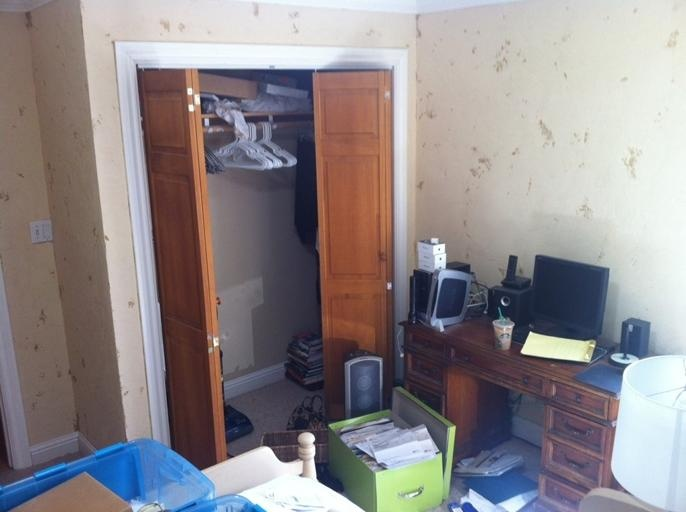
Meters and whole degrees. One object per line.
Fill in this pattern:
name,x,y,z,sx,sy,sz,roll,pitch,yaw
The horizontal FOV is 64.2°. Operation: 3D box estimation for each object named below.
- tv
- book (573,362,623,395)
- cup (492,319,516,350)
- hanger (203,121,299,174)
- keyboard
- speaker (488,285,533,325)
tv,1.334,0.241,3.188,0.380,0.452,0.157,17,19,35
book,1.336,0.623,2.838,0.160,0.148,0.162,6,7,45
cup,0.919,0.435,3.136,0.150,0.164,0.150,-2,6,0
hanger,-0.608,-0.718,3.710,0.389,0.280,0.569,-10,21,-35
keyboard,1.241,0.516,3.076,0.448,0.068,0.256,4,13,22
speaker,1.012,0.255,3.456,0.215,0.287,0.293,-7,10,-29
